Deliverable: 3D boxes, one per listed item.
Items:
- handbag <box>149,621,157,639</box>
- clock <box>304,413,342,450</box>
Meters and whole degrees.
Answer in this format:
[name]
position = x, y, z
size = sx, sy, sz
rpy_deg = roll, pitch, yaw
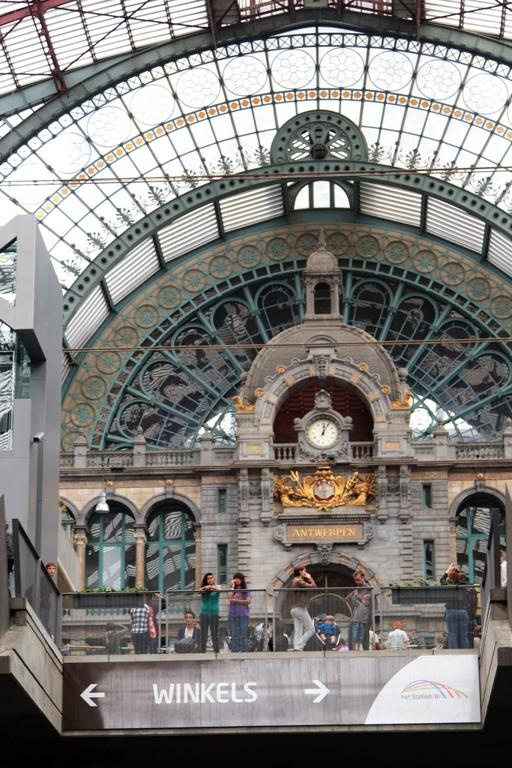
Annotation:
[handbag]
position = -1.776, 4.222, 24.678
size = 0.115, 0.284, 0.078
rpy_deg = -1, 1, -3
[clock]
position = 2.112, 1.578, 46.088
size = 1.167, 1.099, 0.119
rpy_deg = 5, -22, 4
